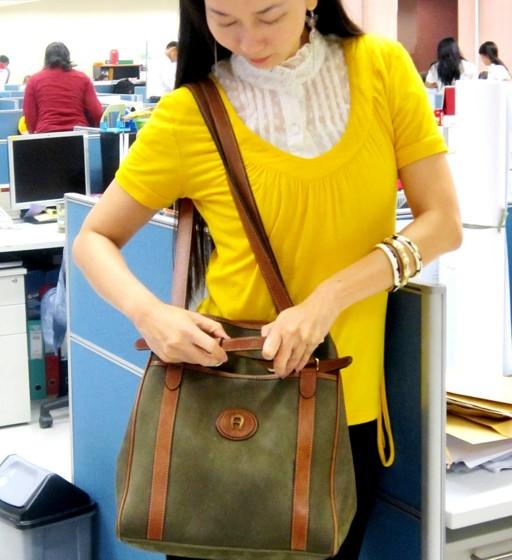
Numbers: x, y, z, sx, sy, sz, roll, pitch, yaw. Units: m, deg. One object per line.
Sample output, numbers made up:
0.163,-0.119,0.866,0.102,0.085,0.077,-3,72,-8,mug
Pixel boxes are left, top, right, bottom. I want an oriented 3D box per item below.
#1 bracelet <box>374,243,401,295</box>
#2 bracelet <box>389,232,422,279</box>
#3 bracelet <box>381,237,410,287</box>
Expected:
0.162,-0.017,0.761,0.017,0.051,0.043,-10,-8,-8,bracelet
0.209,-0.031,0.781,0.013,0.051,0.051,-32,46,11,bracelet
0.188,-0.024,0.768,0.022,0.060,0.052,-11,25,9,bracelet
